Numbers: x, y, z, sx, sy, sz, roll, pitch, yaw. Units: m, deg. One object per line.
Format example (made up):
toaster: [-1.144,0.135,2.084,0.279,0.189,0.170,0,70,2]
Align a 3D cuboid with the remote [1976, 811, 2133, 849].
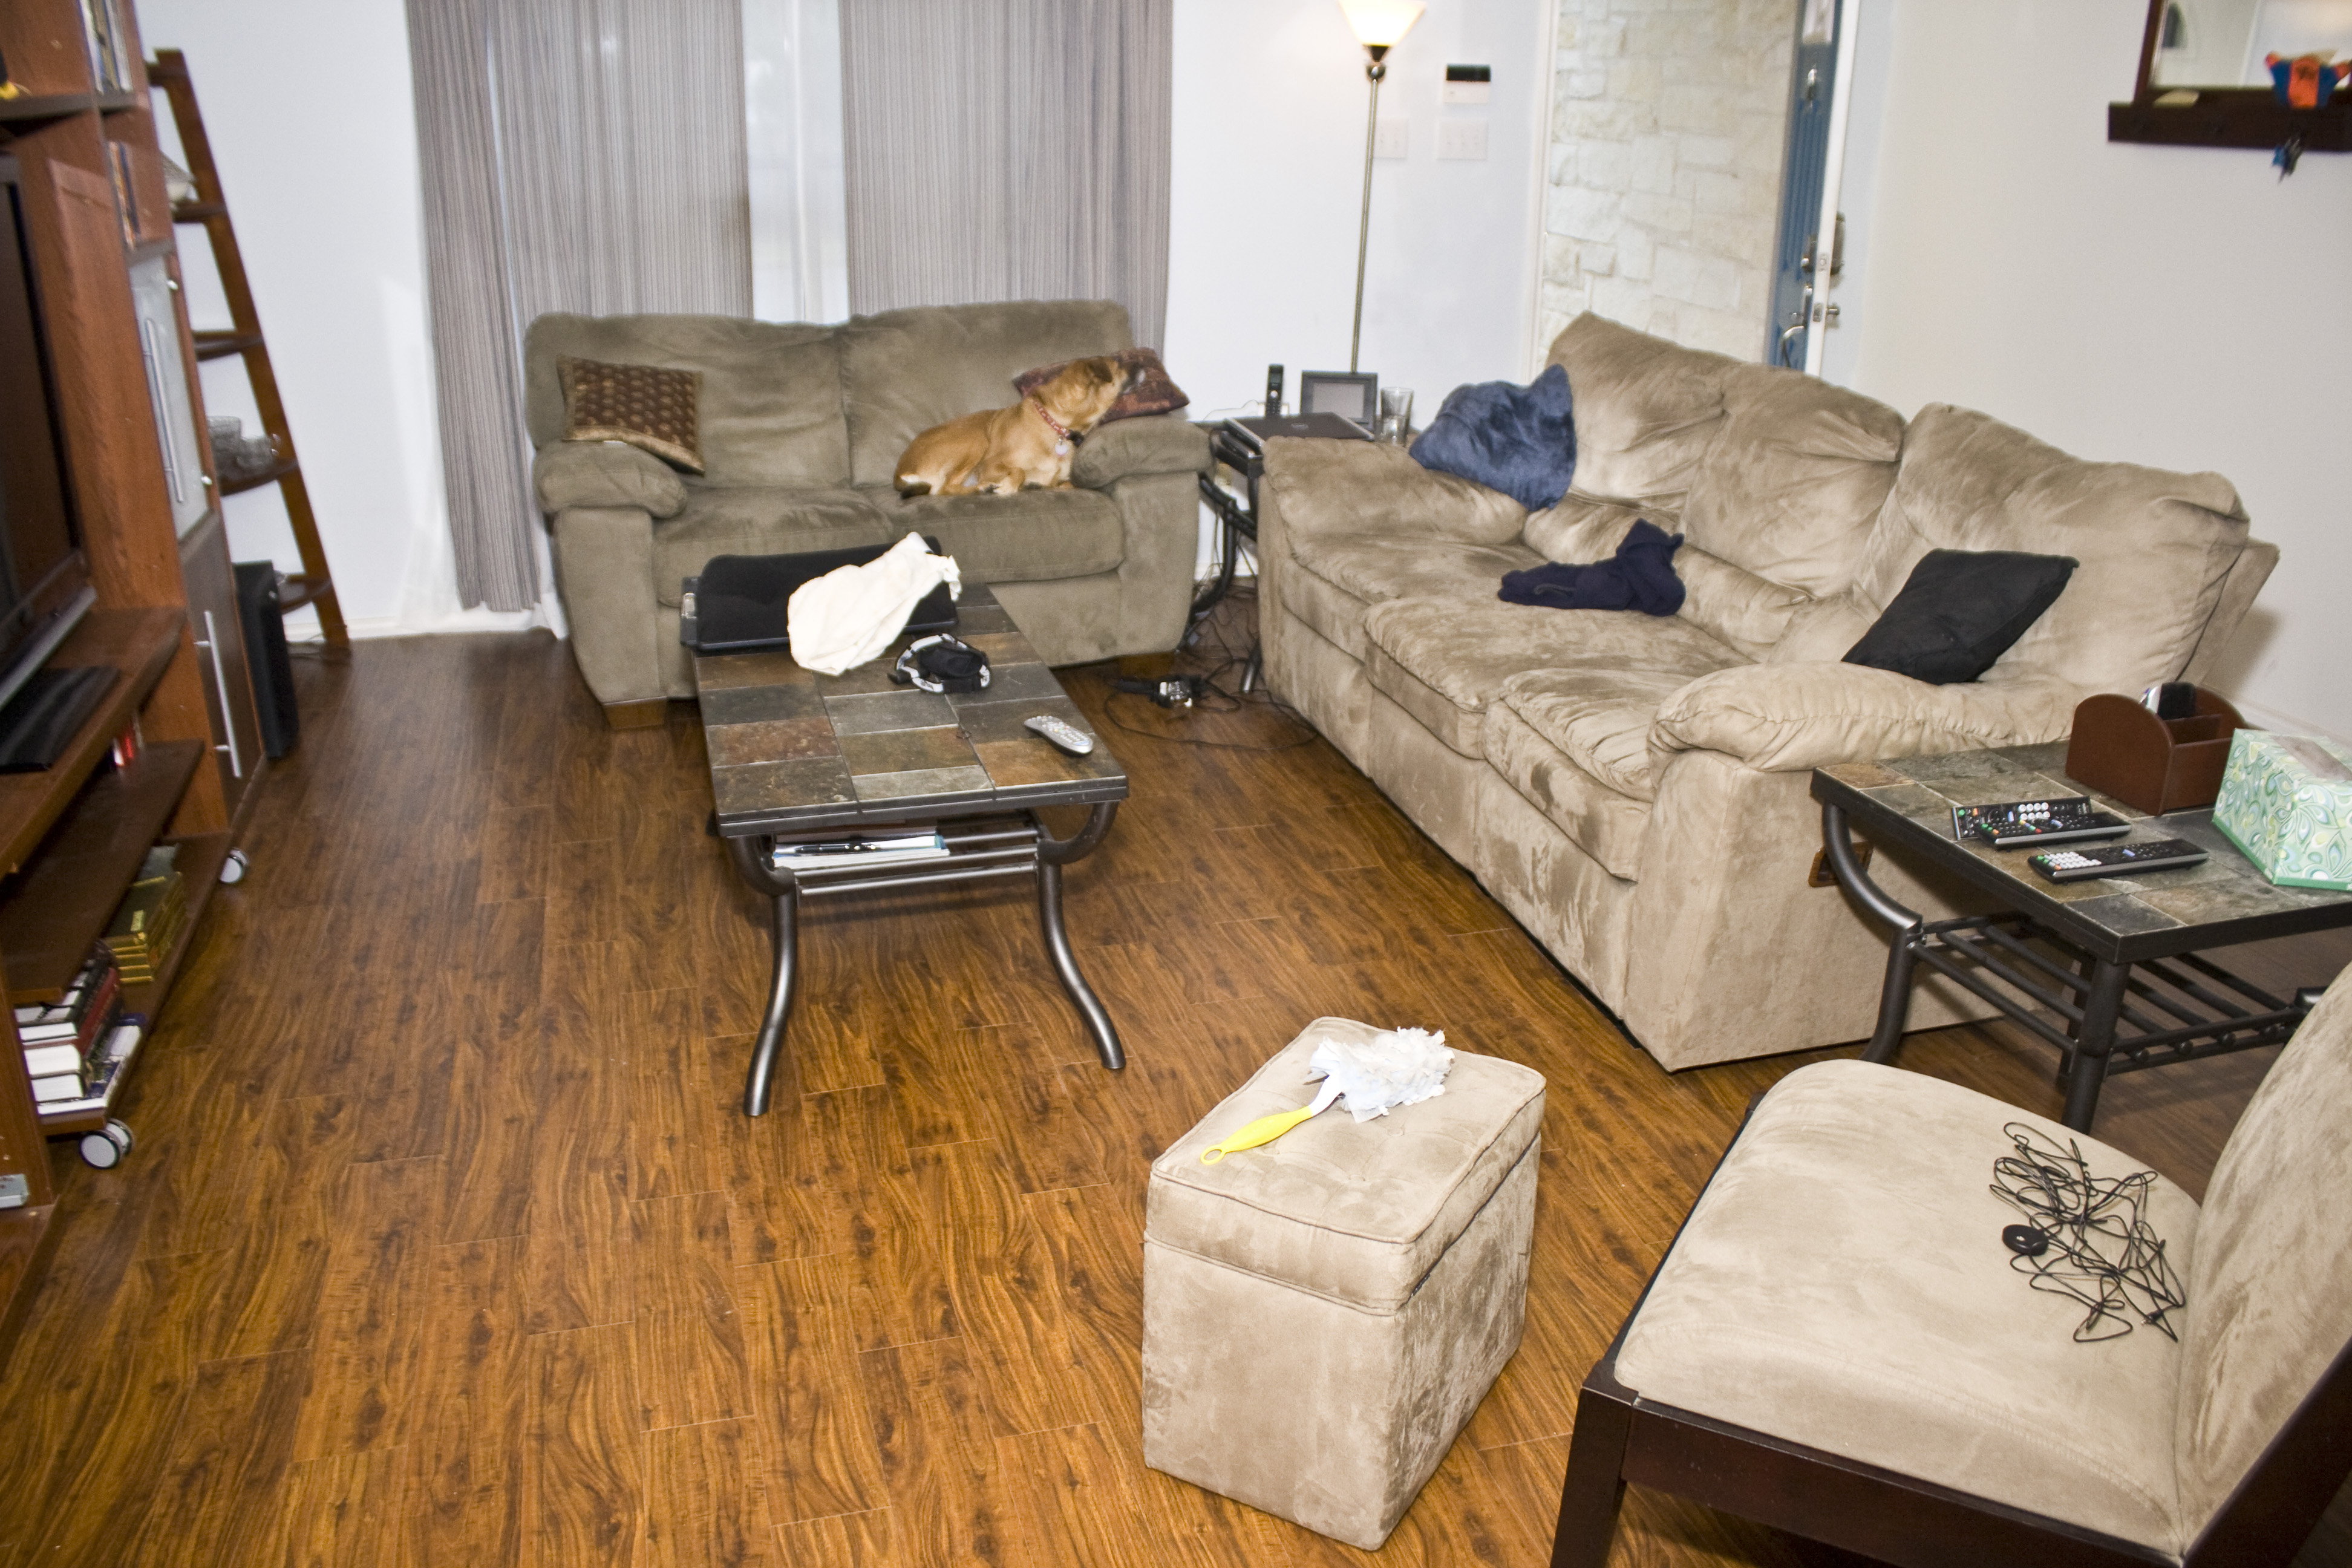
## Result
remote: [1.576,0.079,2.881,0.185,0.045,0.089,-7,16,-7]

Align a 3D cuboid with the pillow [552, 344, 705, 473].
pillow: [-1.762,-1.200,5.203,0.452,0.359,0.349,-10,26,-19]

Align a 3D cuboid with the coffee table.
coffee table: [-0.778,-0.018,4.164,0.902,0.697,1.703,-5,26,-19]

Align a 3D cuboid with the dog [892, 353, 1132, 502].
dog: [-0.555,-1.191,5.399,0.816,0.419,0.296,-4,12,9]

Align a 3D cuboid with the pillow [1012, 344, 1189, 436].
pillow: [-0.208,-1.337,5.424,0.381,0.116,0.368,-13,37,-14]

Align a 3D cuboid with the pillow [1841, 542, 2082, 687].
pillow: [1.700,-0.380,3.468,0.399,0.245,0.336,-19,30,-34]

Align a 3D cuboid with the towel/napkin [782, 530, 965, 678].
towel/napkin: [-0.763,-0.464,3.988,0.428,0.112,0.274,-34,62,-30]

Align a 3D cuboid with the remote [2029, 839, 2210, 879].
remote: [1.672,0.128,2.824,0.351,0.034,0.106,-5,25,-8]

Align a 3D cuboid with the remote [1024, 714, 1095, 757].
remote: [-0.257,-0.114,3.520,0.073,0.021,0.144,-17,35,-30]

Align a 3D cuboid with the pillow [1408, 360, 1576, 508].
pillow: [0.954,-1.012,4.811,0.418,0.433,0.142,23,2,40]
